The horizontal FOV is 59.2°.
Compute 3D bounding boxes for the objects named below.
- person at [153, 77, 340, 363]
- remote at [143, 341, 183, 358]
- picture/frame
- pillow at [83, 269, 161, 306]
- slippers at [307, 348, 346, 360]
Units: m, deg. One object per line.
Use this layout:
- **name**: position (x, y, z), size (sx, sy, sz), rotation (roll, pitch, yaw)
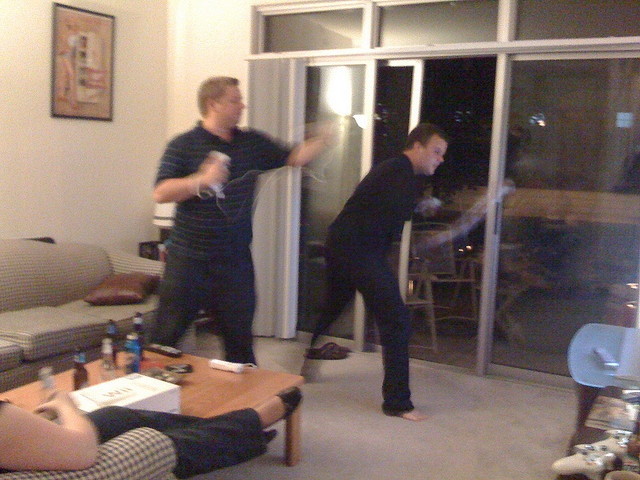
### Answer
- **person**: position (-0.474, -0.099, 2.880), size (0.642, 1.428, 0.510), rotation (6, 17, 9)
- **remote**: position (-0.807, 0.553, 2.881), size (0.171, 0.026, 0.075), rotation (11, 3, -1)
- **picture/frame**: position (-1.871, -1.369, 4.424), size (0.172, 0.859, 0.602), rotation (14, 19, 29)
- **pillow**: position (-1.355, 0.316, 3.782), size (0.332, 0.072, 0.292), rotation (2, 20, 12)
- **slippers**: position (0.046, 0.815, 4.034), size (0.205, 0.030, 0.118), rotation (0, 2, 12)
